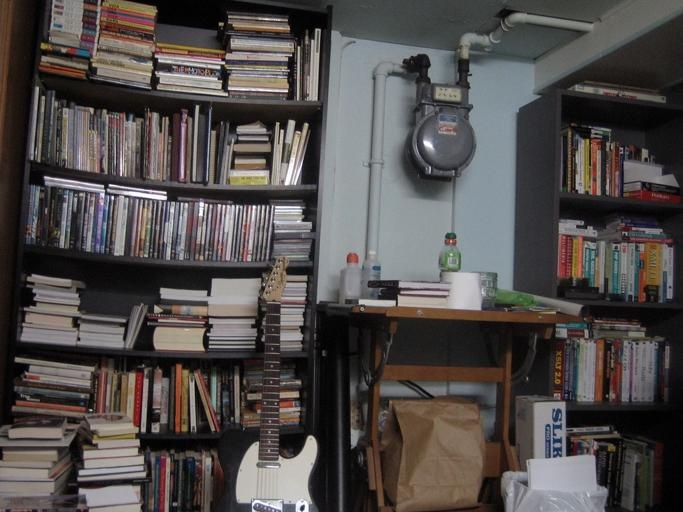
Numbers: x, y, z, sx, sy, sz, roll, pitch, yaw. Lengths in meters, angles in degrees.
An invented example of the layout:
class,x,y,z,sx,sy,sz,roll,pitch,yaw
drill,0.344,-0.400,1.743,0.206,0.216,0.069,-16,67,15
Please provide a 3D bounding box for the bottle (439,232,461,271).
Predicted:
class,x,y,z,sx,sy,sz,roll,pitch,yaw
bottle,0.552,-0.023,3.598,0.101,0.217,0.325,1,-4,7

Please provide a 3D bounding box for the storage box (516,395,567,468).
class,x,y,z,sx,sy,sz,roll,pitch,yaw
storage box,0.989,0.877,3.504,0.232,0.345,0.102,1,-4,9

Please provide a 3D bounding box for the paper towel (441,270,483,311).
class,x,y,z,sx,sy,sz,roll,pitch,yaw
paper towel,0.590,0.165,3.399,0.176,0.171,0.173,2,-1,-39

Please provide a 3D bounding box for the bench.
class,x,y,z,sx,sy,sz,roll,pitch,yaw
bench,0.507,0.596,3.797,1.289,1.248,0.998,2,-2,-12

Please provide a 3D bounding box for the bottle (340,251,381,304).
class,x,y,z,sx,sy,sz,roll,pitch,yaw
bottle,0.101,0.119,3.648,0.236,0.327,0.131,3,-6,-32
